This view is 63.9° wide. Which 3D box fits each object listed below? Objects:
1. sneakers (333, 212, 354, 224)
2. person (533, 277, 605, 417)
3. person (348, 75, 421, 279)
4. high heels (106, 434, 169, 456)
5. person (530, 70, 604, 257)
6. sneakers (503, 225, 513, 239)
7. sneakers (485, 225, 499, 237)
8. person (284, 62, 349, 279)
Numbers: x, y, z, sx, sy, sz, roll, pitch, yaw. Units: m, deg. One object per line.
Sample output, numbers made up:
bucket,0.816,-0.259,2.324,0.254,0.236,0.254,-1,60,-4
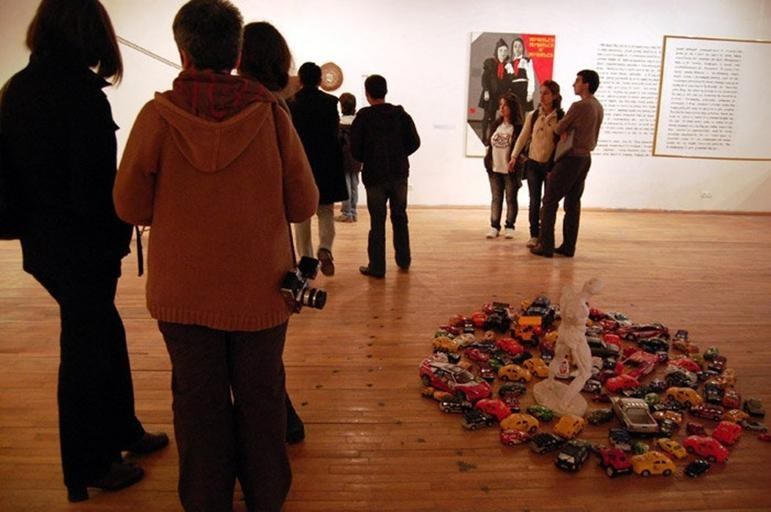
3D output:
sneakers,-0.613,-0.550,8.995,0.279,0.118,0.110,8,20,6
person,1.327,0.695,4.472,0.406,0.934,0.433,-10,34,-5
person,-0.005,-0.795,6.328,0.654,2.016,0.376,-11,18,-37
high heels,-1.500,1.149,3.777,0.280,0.108,0.118,-10,27,-26
person,2.084,-0.898,7.146,0.688,1.842,0.347,4,15,13
sneakers,1.615,-0.306,8.117,0.145,0.145,0.367,-1,8,6
sneakers,1.400,-0.308,8.150,0.086,0.098,0.220,3,11,22
person,-0.728,-0.840,6.079,0.786,2.006,0.781,-3,11,-10
